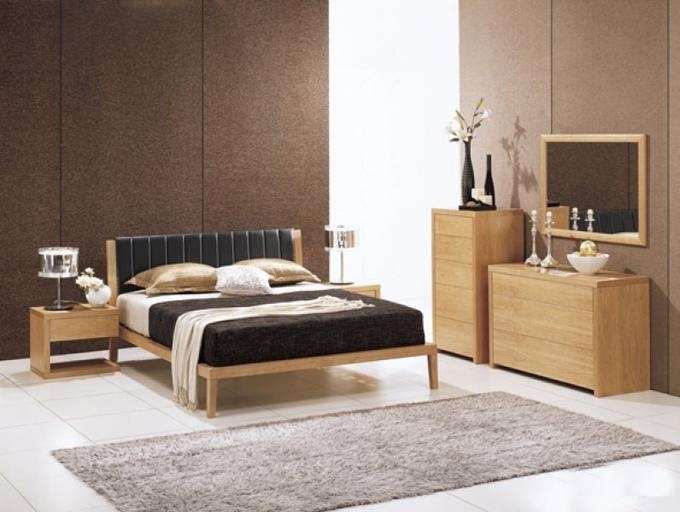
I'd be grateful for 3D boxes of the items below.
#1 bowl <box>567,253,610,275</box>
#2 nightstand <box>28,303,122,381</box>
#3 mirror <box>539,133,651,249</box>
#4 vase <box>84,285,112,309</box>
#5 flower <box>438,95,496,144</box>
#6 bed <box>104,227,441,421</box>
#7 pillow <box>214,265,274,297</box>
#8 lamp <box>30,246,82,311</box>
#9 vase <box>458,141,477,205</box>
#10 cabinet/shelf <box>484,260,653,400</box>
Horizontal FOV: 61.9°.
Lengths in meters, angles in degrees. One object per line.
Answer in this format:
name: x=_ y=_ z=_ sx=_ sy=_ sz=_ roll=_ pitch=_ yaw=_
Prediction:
bowl: x=1.916 y=0.043 z=4.434 sx=0.211 sy=0.087 sz=0.202 roll=0 pitch=2 yaw=0
nightstand: x=-2.319 y=0.648 z=4.910 sx=0.913 sy=0.701 sz=0.566 roll=-2 pitch=8 yaw=-32
mirror: x=2.110 y=-0.568 z=4.709 sx=0.339 sy=0.856 sz=1.113 roll=-9 pitch=11 yaw=-21
vase: x=-2.093 y=0.347 z=4.985 sx=0.201 sy=0.155 sz=0.198 roll=2 pitch=8 yaw=13
flower: x=1.257 y=-1.320 z=5.672 sx=0.514 sy=0.477 sz=0.498 roll=3 pitch=12 yaw=20
bed: x=-0.882 y=0.476 z=4.755 sx=1.691 sy=0.898 sz=2.048 roll=-2 pitch=3 yaw=-28
pillow: x=-0.849 y=0.217 z=4.985 sx=0.336 sy=0.143 sz=0.321 roll=1 pitch=10 yaw=-10
lamp: x=-2.490 y=0.192 z=5.070 sx=0.319 sy=0.546 sz=0.793 roll=-1 pitch=3 yaw=-26
vase: x=1.218 y=-0.782 z=5.407 sx=0.107 sy=0.623 sz=0.280 roll=1 pitch=3 yaw=11
cabinet/shelf: x=1.883 y=0.562 z=4.770 sx=0.535 sy=0.785 sz=1.310 roll=-2 pitch=2 yaw=-19
